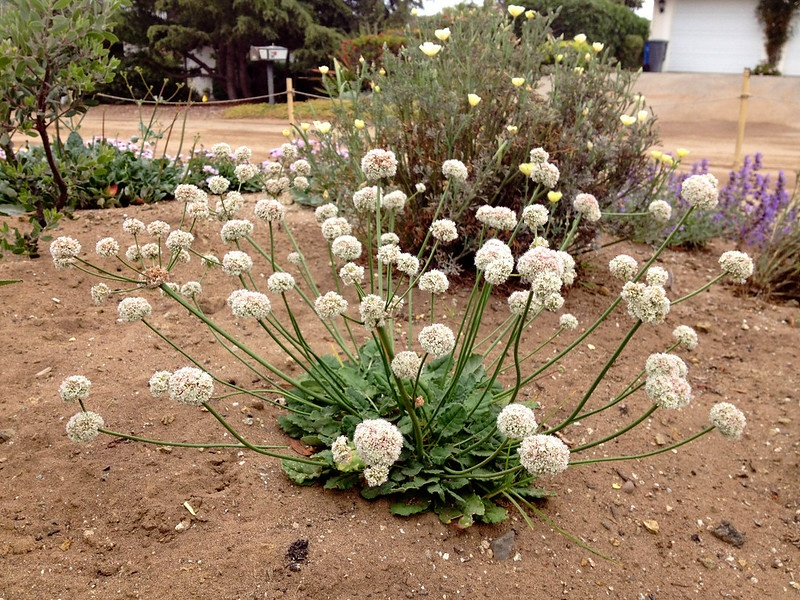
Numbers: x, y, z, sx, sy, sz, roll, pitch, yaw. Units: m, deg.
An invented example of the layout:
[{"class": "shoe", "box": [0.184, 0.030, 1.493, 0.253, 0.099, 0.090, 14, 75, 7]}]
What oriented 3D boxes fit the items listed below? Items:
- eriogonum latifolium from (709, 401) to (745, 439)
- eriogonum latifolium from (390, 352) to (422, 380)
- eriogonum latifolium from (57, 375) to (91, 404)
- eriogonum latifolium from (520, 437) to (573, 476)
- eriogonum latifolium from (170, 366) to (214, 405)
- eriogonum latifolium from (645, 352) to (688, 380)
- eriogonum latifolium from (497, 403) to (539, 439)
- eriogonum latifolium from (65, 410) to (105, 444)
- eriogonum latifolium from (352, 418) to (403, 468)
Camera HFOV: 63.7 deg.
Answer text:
[{"class": "eriogonum latifolium", "box": [1.852, 0.678, 3.640, 0.190, 0.179, 0.213, 7, 5, 2]}, {"class": "eriogonum latifolium", "box": [0.042, 0.406, 3.660, 0.141, 0.237, 0.241, 6, 21, 12]}, {"class": "eriogonum latifolium", "box": [-1.841, 0.512, 3.637, 0.174, 0.179, 0.177, -11, 15, -17]}, {"class": "eriogonum latifolium", "box": [0.743, 0.814, 3.297, 0.211, 0.193, 0.224, 0, 9, -2]}, {"class": "eriogonum latifolium", "box": [-1.152, 0.484, 3.568, 0.210, 0.208, 0.210, -1, -9, 4]}, {"class": "eriogonum latifolium", "box": [1.465, 0.368, 3.518, 0.176, 0.101, 0.145, -5, -12, 43]}, {"class": "eriogonum latifolium", "box": [0.626, 0.648, 3.423, 0.184, 0.194, 0.196, 15, 11, -3]}, {"class": "eriogonum latifolium", "box": [-1.785, 0.721, 3.698, 0.207, 0.210, 0.209, -5, 4, -19]}, {"class": "eriogonum latifolium", "box": [-0.119, 0.747, 3.427, 0.259, 0.233, 0.261, 4, 2, -3]}]
